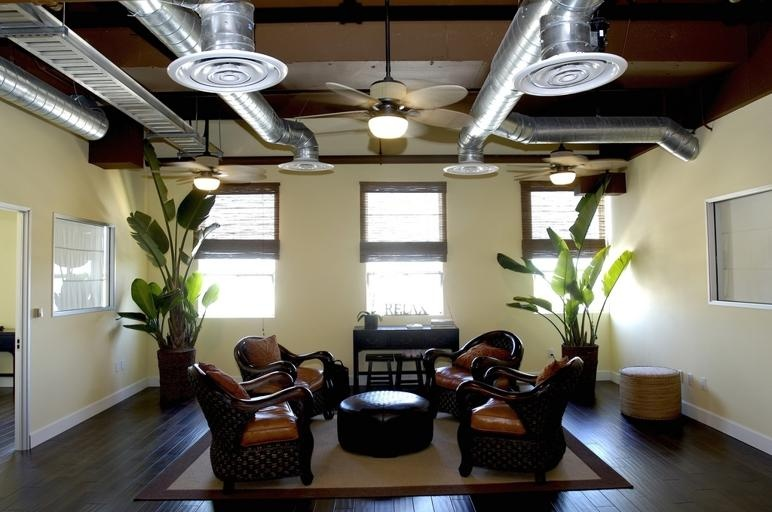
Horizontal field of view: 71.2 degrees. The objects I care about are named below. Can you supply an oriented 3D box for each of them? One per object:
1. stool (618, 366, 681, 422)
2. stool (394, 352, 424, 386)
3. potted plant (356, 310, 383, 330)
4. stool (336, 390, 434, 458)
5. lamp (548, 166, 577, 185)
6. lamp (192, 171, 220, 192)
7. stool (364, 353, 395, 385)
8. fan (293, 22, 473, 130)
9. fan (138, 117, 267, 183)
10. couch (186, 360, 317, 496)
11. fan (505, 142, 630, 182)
[{"bbox_3d":[3.443,1.759,7.021,0.709,0.561,0.681,-2,0,6],"label":"stool"},{"bbox_3d":[0.365,1.747,8.307,0.544,0.668,0.505,1,-4,1],"label":"stool"},{"bbox_3d":[-0.268,0.987,8.291,0.289,0.196,0.282,3,-5,-20],"label":"potted plant"},{"bbox_3d":[-0.004,1.938,6.386,1.159,0.541,1.145,-1,-3,10],"label":"stool"},{"bbox_3d":[2.326,-1.063,7.152,0.290,0.177,0.285,0,-3,2],"label":"lamp"},{"bbox_3d":[-2.299,-0.945,6.926,0.289,0.237,0.283,6,-6,-40],"label":"lamp"},{"bbox_3d":[-0.093,1.721,8.238,0.487,0.468,0.434,-7,-2,-42],"label":"stool"},{"bbox_3d":[0.041,-1.427,5.204,1.262,1.176,1.261,7,-11,-40],"label":"fan"},{"bbox_3d":[-2.342,-1.096,6.930,1.230,0.783,1.257,3,4,41],"label":"fan"},{"bbox_3d":[-1.356,1.767,5.822,1.285,0.988,1.338,4,-3,32],"label":"couch"},{"bbox_3d":[2.241,-1.280,7.095,1.097,0.429,1.150,6,35,29],"label":"fan"}]
